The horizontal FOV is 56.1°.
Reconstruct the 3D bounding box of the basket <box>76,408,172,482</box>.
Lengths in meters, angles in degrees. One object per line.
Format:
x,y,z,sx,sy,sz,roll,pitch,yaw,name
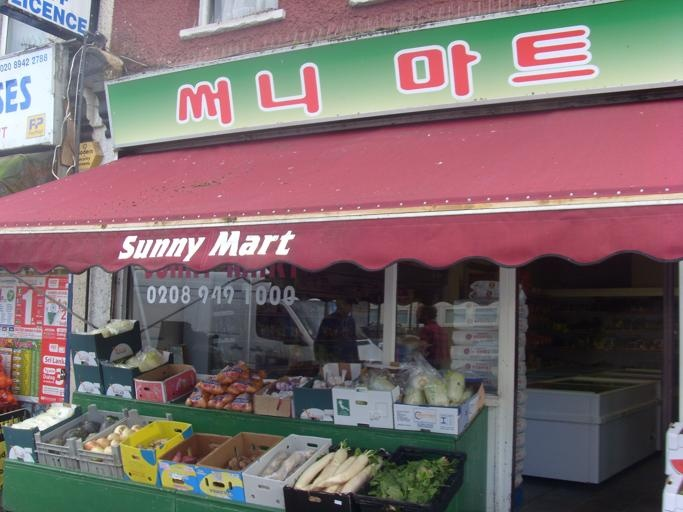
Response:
-2.333,1.949,6.556,0.356,0.559,0.631,-1,-3,25,basket

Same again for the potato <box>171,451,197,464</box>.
-1.523,1.996,6.300,0.258,0.105,0.089,-3,-8,10,potato

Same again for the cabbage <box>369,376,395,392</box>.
0.410,1.284,6.440,0.268,0.113,0.234,-2,-3,3,cabbage

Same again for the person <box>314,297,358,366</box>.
-0.049,0.963,7.824,0.411,0.847,0.396,4,3,-14,person

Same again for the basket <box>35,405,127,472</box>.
-2.712,1.952,6.723,0.597,0.794,0.547,-2,-4,42,basket

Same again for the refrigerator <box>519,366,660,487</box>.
3.524,2.392,9.013,1.325,1.070,2.334,-7,-8,43,refrigerator
